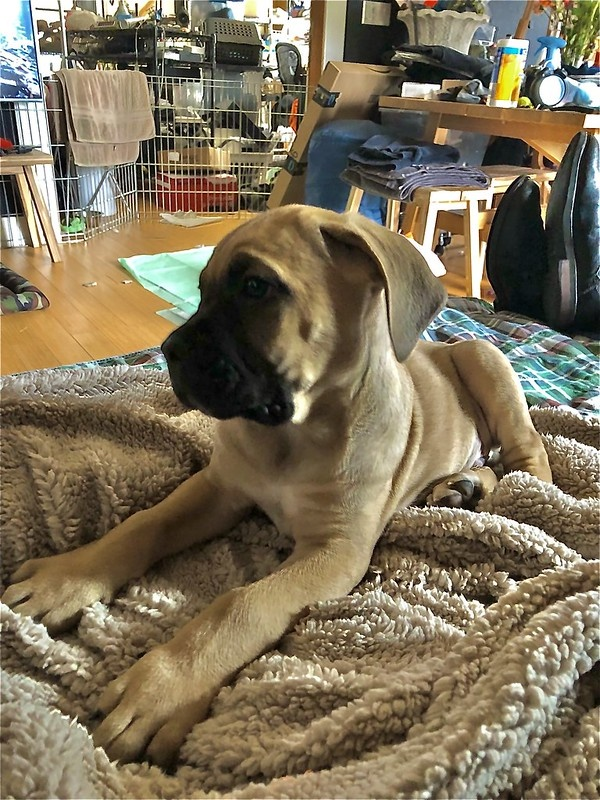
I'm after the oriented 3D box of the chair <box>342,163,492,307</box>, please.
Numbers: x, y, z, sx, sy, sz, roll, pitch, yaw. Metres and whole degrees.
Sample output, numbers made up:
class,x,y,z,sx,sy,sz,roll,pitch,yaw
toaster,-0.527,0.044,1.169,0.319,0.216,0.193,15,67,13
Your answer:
class,x,y,z,sx,sy,sz,roll,pitch,yaw
chair,0.546,-0.809,2.917,0.527,0.419,0.346,-9,32,-42

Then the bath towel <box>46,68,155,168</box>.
class,x,y,z,sx,sy,sz,roll,pitch,yaw
bath towel,-1.337,-1.981,3.982,0.250,0.642,0.671,19,27,29

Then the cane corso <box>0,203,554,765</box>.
class,x,y,z,sx,sy,sz,roll,pitch,yaw
cane corso,0.072,-0.080,1.088,0.587,0.587,1.153,25,36,36

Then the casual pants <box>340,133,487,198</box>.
class,x,y,z,sx,sy,sz,roll,pitch,yaw
casual pants,0.598,-1.099,2.715,0.495,0.186,0.488,-15,31,-28
